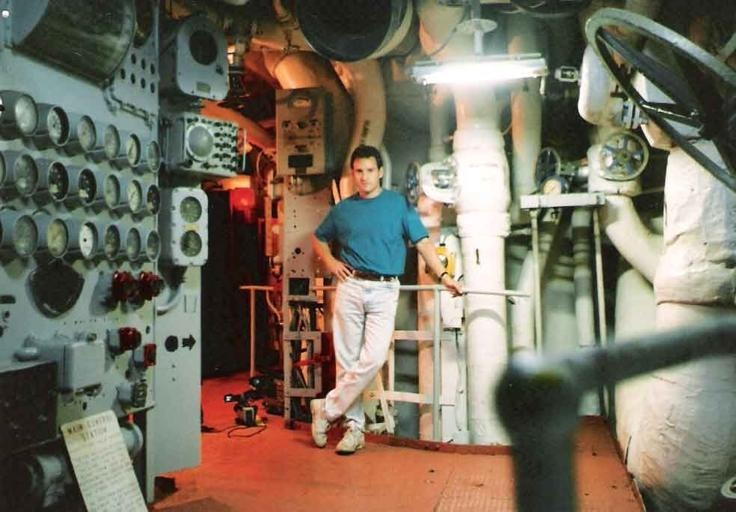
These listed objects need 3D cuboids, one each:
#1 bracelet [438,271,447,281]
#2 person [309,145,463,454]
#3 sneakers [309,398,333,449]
[{"bbox_3d":[0.584,0.161,5.720,0.055,0.026,0.075,-10,-22,-14],"label":"bracelet"},{"bbox_3d":[0.029,0.347,6.025,1.047,2.498,0.541,-1,5,2],"label":"person"},{"bbox_3d":[-0.396,1.384,6.143,0.177,0.436,0.145,0,3,13],"label":"sneakers"}]
